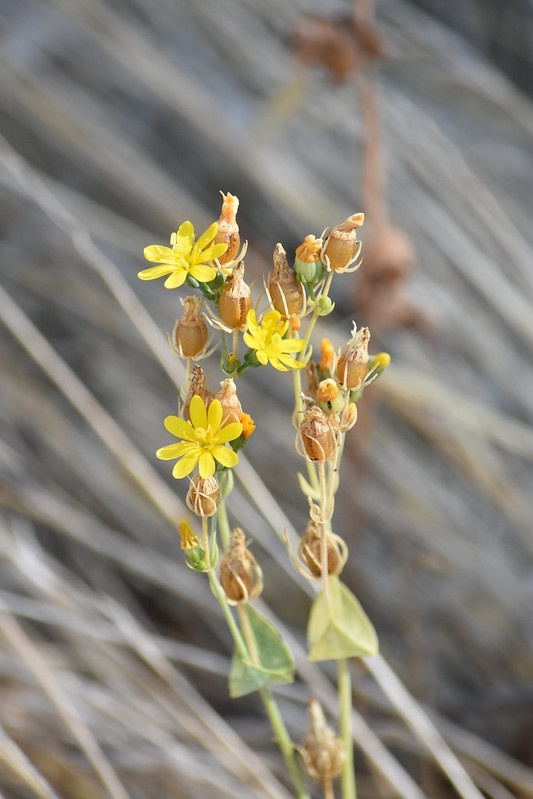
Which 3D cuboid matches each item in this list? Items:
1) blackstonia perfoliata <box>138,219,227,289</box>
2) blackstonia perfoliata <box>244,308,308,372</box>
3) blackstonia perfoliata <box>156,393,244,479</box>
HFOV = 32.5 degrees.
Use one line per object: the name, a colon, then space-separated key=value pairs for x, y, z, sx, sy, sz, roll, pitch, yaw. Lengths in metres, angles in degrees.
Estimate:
blackstonia perfoliata: x=-0.047 y=-0.082 z=0.522 sx=0.046 sy=0.047 sz=0.013 roll=-22 pitch=71 yaw=-12
blackstonia perfoliata: x=0.001 y=-0.034 z=0.521 sx=0.032 sy=0.027 sz=0.014 roll=44 pitch=46 yaw=-21
blackstonia perfoliata: x=-0.031 y=0.017 z=0.507 sx=0.055 sy=0.016 sz=0.051 roll=-31 pitch=36 yaw=-10
